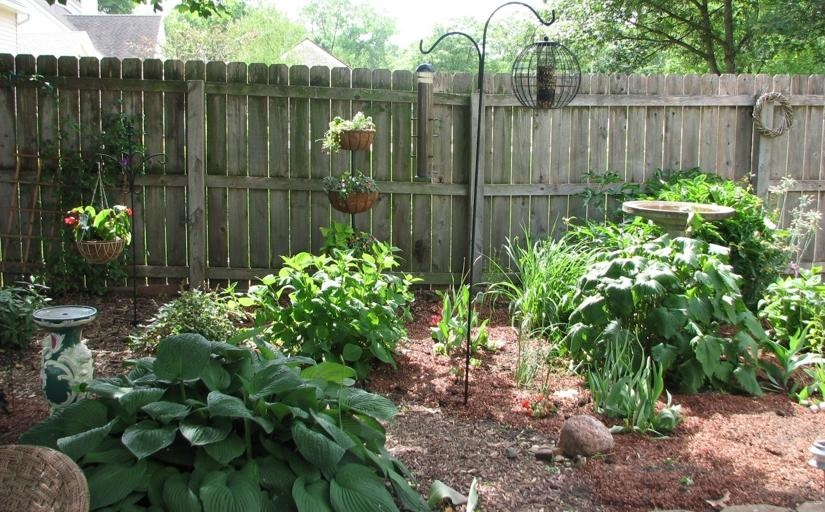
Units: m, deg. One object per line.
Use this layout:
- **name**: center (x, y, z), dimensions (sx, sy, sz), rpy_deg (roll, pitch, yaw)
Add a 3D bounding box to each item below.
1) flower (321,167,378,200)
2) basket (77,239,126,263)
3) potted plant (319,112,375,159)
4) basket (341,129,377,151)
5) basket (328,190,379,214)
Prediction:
- **flower**: center (-0.653, -0.754, 7.394), dimensions (0.378, 0.238, 0.378), rpy_deg (-1, 7, -27)
- **basket**: center (-3.165, -0.047, 7.079), dimensions (0.331, 0.259, 0.308), rpy_deg (2, 7, 20)
- **potted plant**: center (-0.725, -1.289, 7.509), dimensions (0.488, 0.318, 0.531), rpy_deg (0, 0, -25)
- **basket**: center (-0.593, -1.229, 7.358), dimensions (0.350, 0.199, 0.137), rpy_deg (-2, 6, -10)
- **basket**: center (-0.642, -0.576, 7.390), dimensions (0.304, 0.144, 0.319), rpy_deg (0, -1, 29)
